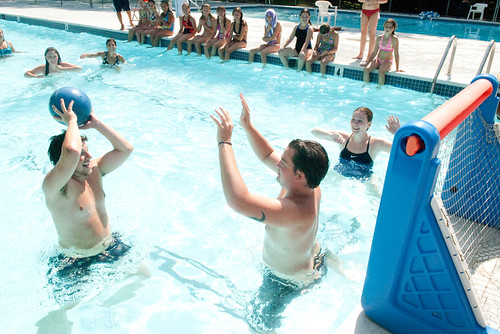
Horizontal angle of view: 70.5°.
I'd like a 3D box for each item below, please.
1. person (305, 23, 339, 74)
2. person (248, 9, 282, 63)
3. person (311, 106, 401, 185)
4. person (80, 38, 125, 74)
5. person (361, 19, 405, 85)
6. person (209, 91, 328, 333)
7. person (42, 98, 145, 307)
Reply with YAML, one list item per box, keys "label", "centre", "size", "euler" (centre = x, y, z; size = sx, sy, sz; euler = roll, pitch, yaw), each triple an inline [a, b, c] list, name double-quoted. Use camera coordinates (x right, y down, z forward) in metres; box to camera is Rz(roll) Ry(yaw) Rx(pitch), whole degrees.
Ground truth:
- label: "person"
  centre: [1.868, -3.074, 9.210]
  size: [0.699, 1.154, 0.778]
  euler: [13, 31, 22]
- label: "person"
  centre: [0.530, -3.720, 10.127]
  size: [0.807, 1.374, 1.041]
  euler: [16, 32, 27]
- label: "person"
  centre: [1.465, -0.278, 4.915]
  size: [1.104, 1.403, 0.483]
  euler: [15, 39, 21]
- label: "person"
  centre: [-3.952, -3.093, 9.537]
  size: [1.039, 0.747, 0.670]
  euler: [6, 29, 11]
- label: "person"
  centre: [3.146, -2.678, 8.427]
  size: [0.853, 1.642, 0.730]
  euler: [1, 0, 3]
- label: "person"
  centre: [0.165, 0.542, 3.811]
  size: [1.156, 2.820, 1.383]
  euler: [14, 44, 19]
- label: "person"
  centre: [-1.629, 0.271, 3.395]
  size: [0.719, 1.839, 1.034]
  euler: [3, 28, 6]
